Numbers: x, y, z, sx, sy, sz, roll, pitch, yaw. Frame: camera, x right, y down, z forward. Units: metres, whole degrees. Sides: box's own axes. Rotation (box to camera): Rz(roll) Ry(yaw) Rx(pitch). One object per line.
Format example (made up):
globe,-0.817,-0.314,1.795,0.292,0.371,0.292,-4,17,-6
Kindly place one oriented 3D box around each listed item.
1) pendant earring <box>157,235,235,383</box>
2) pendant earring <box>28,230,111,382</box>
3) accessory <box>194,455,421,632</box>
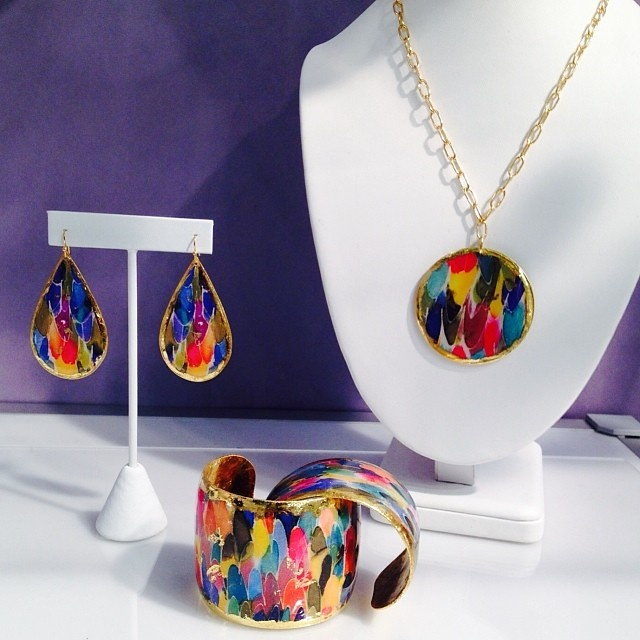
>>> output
pendant earring,-0.146,-0.011,0.923,0.083,0.217,0.032,-2,42,-10
pendant earring,-0.299,-0.019,0.932,0.084,0.022,0.204,11,50,-31
accessory,-0.025,0.189,0.787,0.173,0.147,0.150,3,0,11
